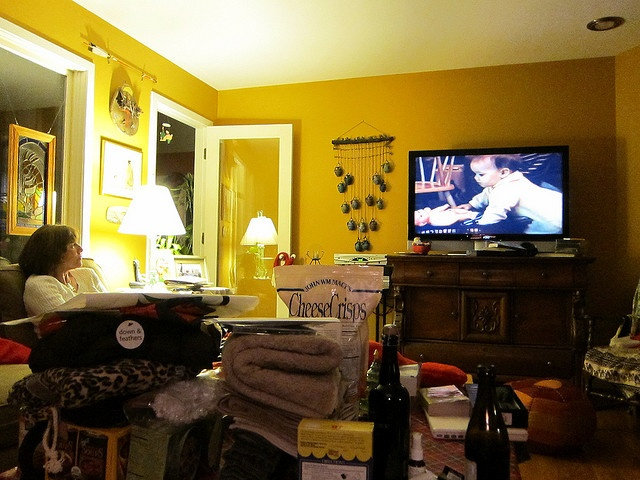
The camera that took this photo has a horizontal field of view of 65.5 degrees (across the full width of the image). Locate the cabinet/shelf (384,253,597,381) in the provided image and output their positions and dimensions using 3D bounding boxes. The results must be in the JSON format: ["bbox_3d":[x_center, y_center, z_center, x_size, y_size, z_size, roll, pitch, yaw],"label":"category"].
[{"bbox_3d":[1.248,0.540,3.498,1.000,0.855,0.404,0,-3,7],"label":"cabinet/shelf"}]

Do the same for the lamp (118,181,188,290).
[{"bbox_3d":[-1.396,-0.048,4.189,0.623,0.843,1.108,0,1,-27],"label":"lamp"}]

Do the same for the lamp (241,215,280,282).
[{"bbox_3d":[-0.600,0.089,4.916,0.356,0.601,0.173,0,0,-6],"label":"lamp"}]
